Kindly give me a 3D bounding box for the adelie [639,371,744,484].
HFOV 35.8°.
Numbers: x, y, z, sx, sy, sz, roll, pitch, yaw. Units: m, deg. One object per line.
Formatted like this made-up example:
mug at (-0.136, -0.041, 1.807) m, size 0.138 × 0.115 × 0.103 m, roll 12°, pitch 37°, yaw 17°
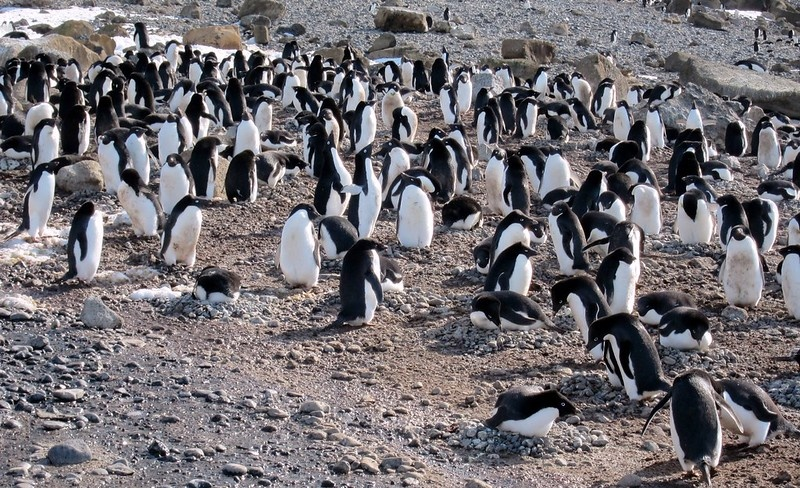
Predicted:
adelie at (4.269, 2.651, 17.886) m, size 1.307 × 1.136 × 1.692 m, roll -11°, pitch 33°, yaw 11°
